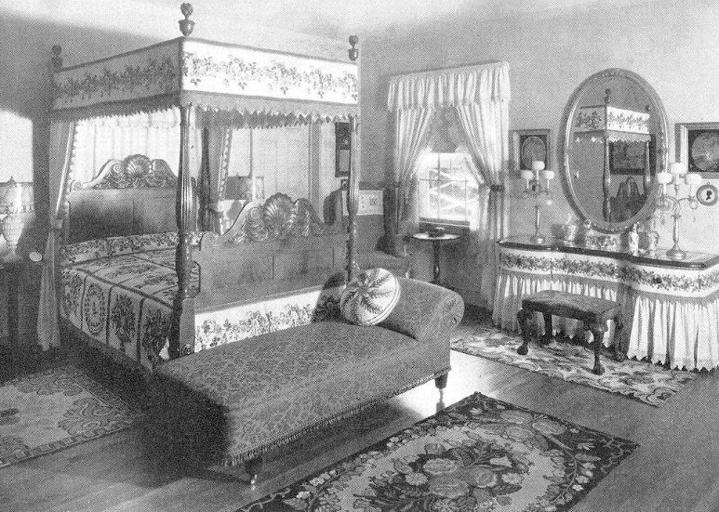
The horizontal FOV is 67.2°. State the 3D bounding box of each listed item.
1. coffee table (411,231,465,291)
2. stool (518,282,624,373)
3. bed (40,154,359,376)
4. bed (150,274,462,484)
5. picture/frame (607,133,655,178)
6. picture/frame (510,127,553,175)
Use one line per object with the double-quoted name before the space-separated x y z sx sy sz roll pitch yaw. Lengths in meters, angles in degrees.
"coffee table" 1.083 0.045 7.621 0.587 0.693 0.584 -7 9 -39
"stool" 2.300 0.795 5.947 0.644 0.732 0.959 -14 16 -40
"bed" -1.774 -0.120 6.038 2.440 1.830 2.492 10 13 32
"bed" -0.647 0.945 4.280 1.084 1.087 2.648 5 9 45
"picture/frame" 3.107 -1.177 6.224 0.019 0.448 0.584 -24 26 -29
"picture/frame" 2.227 -1.349 6.990 0.557 0.620 0.050 -5 3 -18
